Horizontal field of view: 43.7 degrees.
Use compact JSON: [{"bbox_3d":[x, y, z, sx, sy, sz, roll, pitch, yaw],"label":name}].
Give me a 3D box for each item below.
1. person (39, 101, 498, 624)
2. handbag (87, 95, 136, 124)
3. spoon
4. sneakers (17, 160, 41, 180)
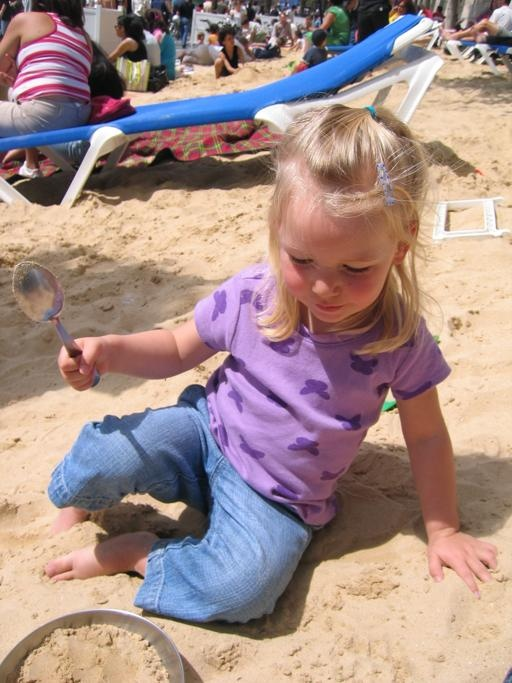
[{"bbox_3d":[0.001,0.059,1.402,1.010,1.064,0.574,-3,27,1],"label":"person"},{"bbox_3d":[-1.054,-1.663,4.562,0.339,0.100,0.310,-7,24,-11],"label":"handbag"},{"bbox_3d":[-0.428,-0.027,1.392,0.092,0.282,0.039,-32,16,1],"label":"spoon"},{"bbox_3d":[-1.755,-1.315,4.906,0.252,0.095,0.097,20,30,25],"label":"sneakers"}]
